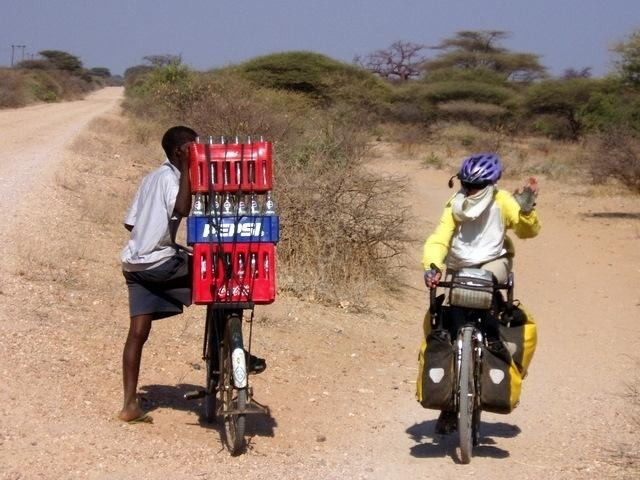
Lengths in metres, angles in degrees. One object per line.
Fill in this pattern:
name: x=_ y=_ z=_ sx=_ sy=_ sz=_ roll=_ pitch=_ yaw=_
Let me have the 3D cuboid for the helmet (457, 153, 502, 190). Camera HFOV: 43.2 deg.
helmet: x=1.513 y=-0.656 z=7.591 sx=0.455 sy=0.240 sz=0.627 roll=17 pitch=12 yaw=24

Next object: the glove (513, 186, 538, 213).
glove: x=1.811 y=-0.371 z=7.212 sx=0.191 sy=0.264 sz=0.249 roll=3 pitch=15 yaw=11

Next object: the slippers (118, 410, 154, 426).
slippers: x=-1.714 y=1.663 z=7.543 sx=0.309 sy=0.136 sz=0.116 roll=0 pitch=3 yaw=-20

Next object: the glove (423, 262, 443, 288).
glove: x=1.005 y=0.317 z=7.288 sx=0.072 sy=0.146 sz=0.201 roll=18 pitch=40 yaw=4

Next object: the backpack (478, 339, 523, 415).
backpack: x=1.597 y=1.258 z=7.579 sx=0.442 sy=0.851 sz=0.592 roll=0 pitch=-3 yaw=-6

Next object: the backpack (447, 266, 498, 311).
backpack: x=1.345 y=0.434 z=7.243 sx=0.391 sy=0.334 sz=0.206 roll=2 pitch=15 yaw=11

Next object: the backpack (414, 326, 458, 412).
backpack: x=1.049 y=1.184 z=7.365 sx=0.320 sy=0.652 sz=0.308 roll=2 pitch=14 yaw=8
